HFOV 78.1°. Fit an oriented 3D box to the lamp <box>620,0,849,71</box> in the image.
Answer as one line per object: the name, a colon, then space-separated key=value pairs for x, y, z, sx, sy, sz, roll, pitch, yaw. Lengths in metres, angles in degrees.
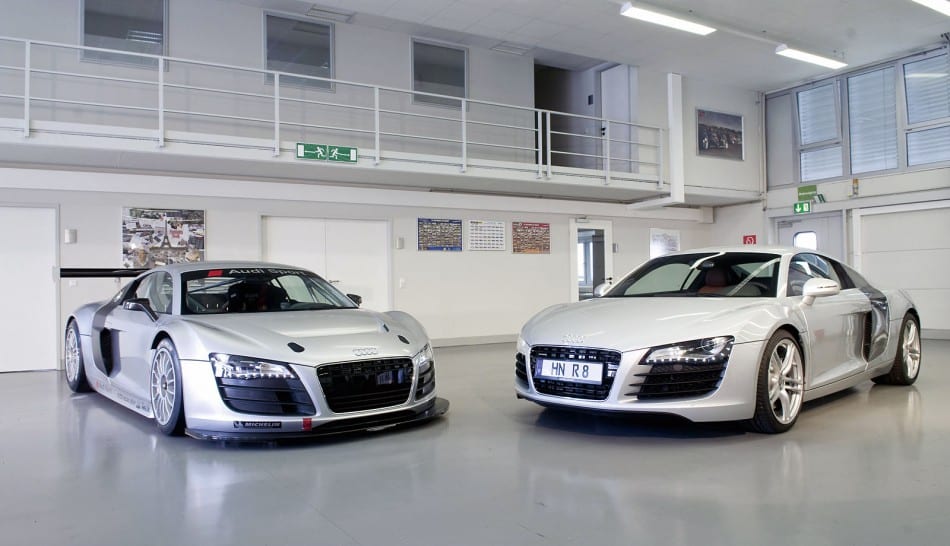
lamp: x=5.474 y=-4.707 z=11.912 sx=6.234 sy=0.738 sz=0.698 roll=-4 pitch=3 yaw=-23

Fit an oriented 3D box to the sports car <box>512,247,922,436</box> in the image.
sports car: x=2.866 y=0.692 z=6.766 sx=4.593 sy=1.953 sz=1.632 roll=-4 pitch=3 yaw=-25
